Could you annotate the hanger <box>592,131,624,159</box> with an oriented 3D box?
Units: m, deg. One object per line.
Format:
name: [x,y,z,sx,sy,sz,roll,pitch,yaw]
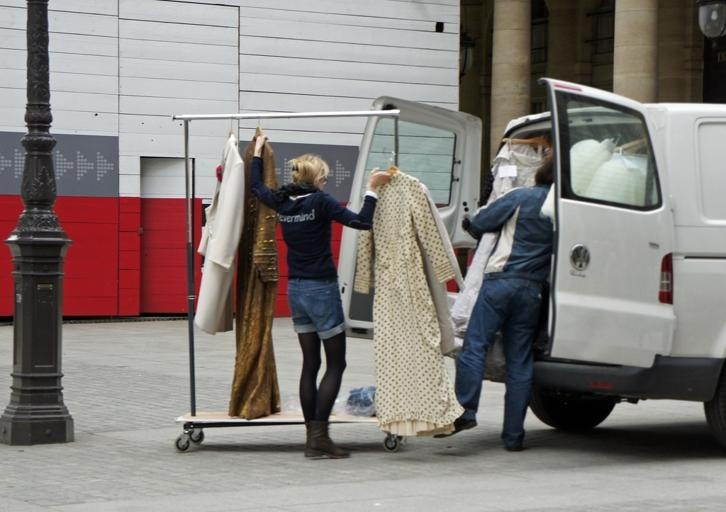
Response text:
hanger: [2.300,-1.045,12.298,0.216,0.245,0.148,12,8,-4]

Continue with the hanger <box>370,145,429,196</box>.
hanger: [0.502,-1.045,15.171,0.500,0.649,0.402,-11,8,-24]

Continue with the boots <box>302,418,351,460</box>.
boots: [-0.335,1.699,12.252,0.417,0.341,0.171,0,5,-3]

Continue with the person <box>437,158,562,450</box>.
person: [1.330,0.432,12.781,1.009,2.762,1.060,1,-1,-39]

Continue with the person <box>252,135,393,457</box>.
person: [-0.466,0.281,12.311,0.908,3.125,0.963,0,0,-5]
